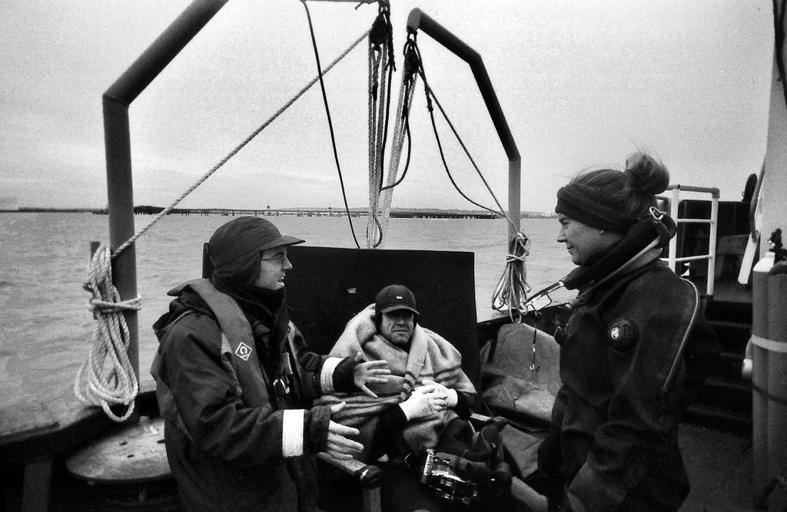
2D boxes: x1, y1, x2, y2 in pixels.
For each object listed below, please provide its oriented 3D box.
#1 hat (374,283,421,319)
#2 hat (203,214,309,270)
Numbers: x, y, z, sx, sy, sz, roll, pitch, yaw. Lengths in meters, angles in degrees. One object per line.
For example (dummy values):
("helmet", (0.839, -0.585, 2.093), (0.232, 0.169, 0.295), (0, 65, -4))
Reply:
("hat", (0.019, 0.362, 4.802), (0.384, 0.304, 0.521), (3, -10, -15))
("hat", (-0.859, -0.089, 3.722), (0.645, 0.319, 0.459), (-19, -3, -4))
